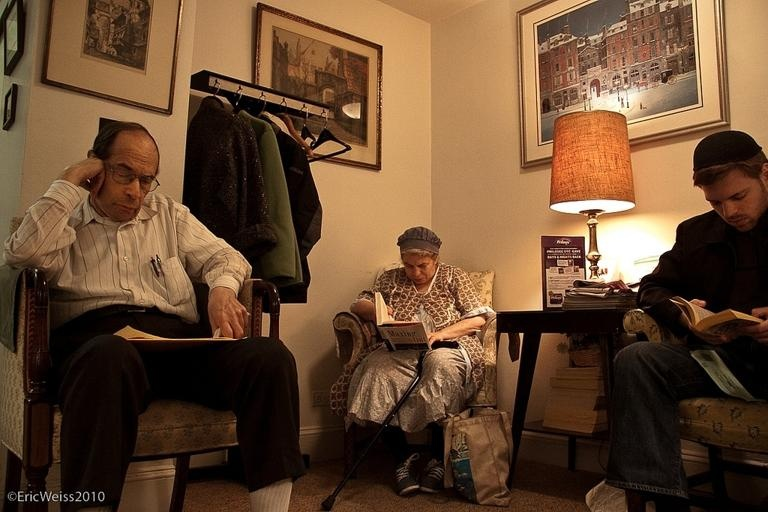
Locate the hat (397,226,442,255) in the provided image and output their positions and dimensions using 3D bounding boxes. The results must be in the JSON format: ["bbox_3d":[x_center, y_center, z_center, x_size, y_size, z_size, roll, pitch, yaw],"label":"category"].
[{"bbox_3d":[0.219,-0.078,3.290,0.169,0.121,0.199,4,-4,30],"label":"hat"}]

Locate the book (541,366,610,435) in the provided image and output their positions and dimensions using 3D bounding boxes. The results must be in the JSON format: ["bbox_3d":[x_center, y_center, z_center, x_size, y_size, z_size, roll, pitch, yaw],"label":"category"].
[{"bbox_3d":[1.058,0.760,3.084,0.311,0.407,0.402,10,-13,-40],"label":"book"}]

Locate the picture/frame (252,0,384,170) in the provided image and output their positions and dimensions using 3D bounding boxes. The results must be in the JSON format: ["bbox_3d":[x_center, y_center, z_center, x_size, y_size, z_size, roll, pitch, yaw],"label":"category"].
[{"bbox_3d":[-0.463,-1.136,3.635,1.323,1.161,0.087,10,-17,-40],"label":"picture/frame"}]

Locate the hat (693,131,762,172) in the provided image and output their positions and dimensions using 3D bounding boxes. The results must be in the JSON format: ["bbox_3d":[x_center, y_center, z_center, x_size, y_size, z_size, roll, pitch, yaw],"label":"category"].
[{"bbox_3d":[1.369,-0.422,2.186,0.225,0.095,0.170,-20,7,-38],"label":"hat"}]

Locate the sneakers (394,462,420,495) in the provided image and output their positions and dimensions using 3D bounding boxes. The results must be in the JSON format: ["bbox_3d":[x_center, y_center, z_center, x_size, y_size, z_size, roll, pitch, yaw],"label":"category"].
[{"bbox_3d":[0.127,1.171,2.898,0.126,0.157,0.233,-1,-2,0],"label":"sneakers"}]

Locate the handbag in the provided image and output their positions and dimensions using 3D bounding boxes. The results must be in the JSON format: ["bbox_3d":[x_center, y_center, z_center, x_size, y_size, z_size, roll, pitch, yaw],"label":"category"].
[{"bbox_3d":[0.458,1.005,2.952,0.366,0.524,0.476,1,-7,-16],"label":"handbag"}]

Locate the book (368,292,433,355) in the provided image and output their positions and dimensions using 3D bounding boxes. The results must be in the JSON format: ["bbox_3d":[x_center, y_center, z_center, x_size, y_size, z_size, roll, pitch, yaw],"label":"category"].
[{"bbox_3d":[0.098,0.330,2.854,0.243,0.120,0.332,-2,-38,25],"label":"book"}]
